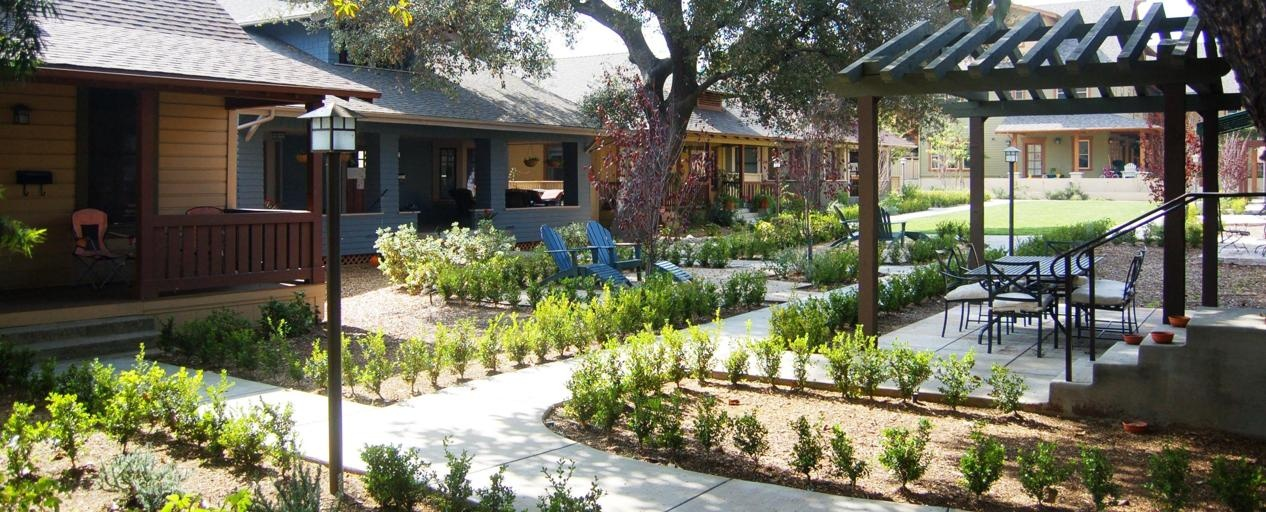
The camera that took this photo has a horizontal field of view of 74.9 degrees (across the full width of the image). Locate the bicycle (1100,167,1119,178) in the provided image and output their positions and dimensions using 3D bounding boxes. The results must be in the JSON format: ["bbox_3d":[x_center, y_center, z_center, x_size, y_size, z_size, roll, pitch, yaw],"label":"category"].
[{"bbox_3d":[31.108,-5.475,53.759,1.167,0.651,1.070,-1,-2,42],"label":"bicycle"}]

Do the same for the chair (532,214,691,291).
[{"bbox_3d":[-0.924,-0.114,23.793,3.572,1.668,2.668,-2,4,-20],"label":"chair"}]

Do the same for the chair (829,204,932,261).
[{"bbox_3d":[8.921,-0.646,29.540,2.403,1.605,4.329,6,10,41],"label":"chair"}]
